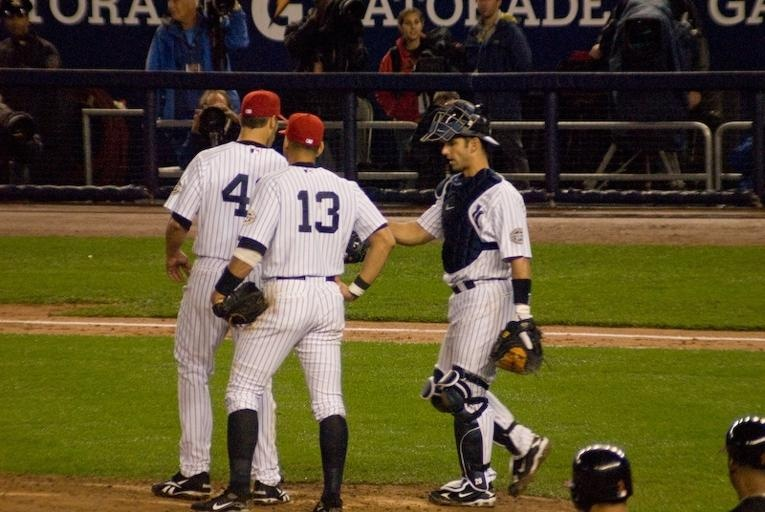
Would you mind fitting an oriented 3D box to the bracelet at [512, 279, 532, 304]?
[{"bbox_3d":[1.305,0.337,15.187,0.237,0.296,0.216,-1,0,7],"label":"bracelet"}]

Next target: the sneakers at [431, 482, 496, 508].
[{"bbox_3d":[0.757,2.241,15.218,0.632,0.239,0.226,4,-3,-1],"label":"sneakers"}]

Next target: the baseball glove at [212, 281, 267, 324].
[{"bbox_3d":[-1.281,0.445,14.915,0.469,0.322,0.197,-18,11,7],"label":"baseball glove"}]

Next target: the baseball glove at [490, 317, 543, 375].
[{"bbox_3d":[1.264,0.842,15.054,0.479,0.529,0.179,2,4,2],"label":"baseball glove"}]

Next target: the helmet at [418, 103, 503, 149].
[{"bbox_3d":[0.751,-1.237,15.412,0.726,0.313,0.481,0,4,-12],"label":"helmet"}]
